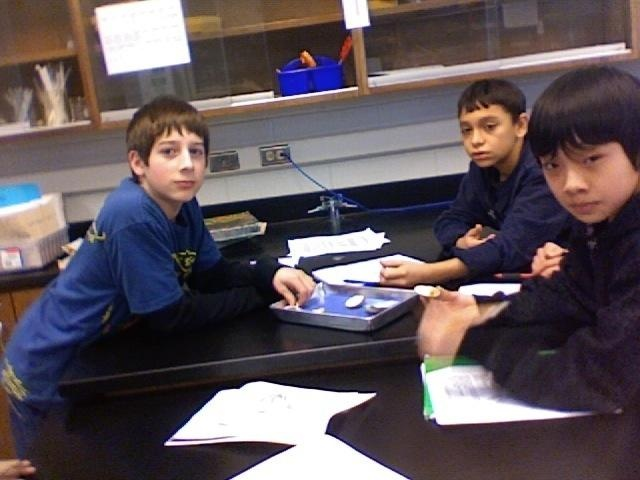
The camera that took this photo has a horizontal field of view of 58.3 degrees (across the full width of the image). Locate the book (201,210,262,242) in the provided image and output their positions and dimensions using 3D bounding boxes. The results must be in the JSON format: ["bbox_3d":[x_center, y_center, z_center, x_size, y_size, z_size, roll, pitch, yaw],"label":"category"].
[{"bbox_3d":[-0.359,-0.061,2.371,0.155,0.035,0.145,-11,22,-24],"label":"book"}]

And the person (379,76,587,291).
[{"bbox_3d":[0.535,-0.160,1.896,0.521,0.686,0.872,4,19,41],"label":"person"}]

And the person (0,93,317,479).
[{"bbox_3d":[-0.479,0.039,1.505,0.834,0.787,0.435,-13,15,-20],"label":"person"}]

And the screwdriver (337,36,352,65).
[{"bbox_3d":[0.101,-0.761,2.297,0.046,0.144,0.045,28,62,3],"label":"screwdriver"}]

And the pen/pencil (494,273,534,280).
[{"bbox_3d":[0.549,0.101,1.623,0.128,0.018,0.018,-1,8,-29],"label":"pen/pencil"}]

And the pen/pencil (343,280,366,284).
[{"bbox_3d":[0.099,0.117,1.654,0.054,0.004,0.018,6,18,3],"label":"pen/pencil"}]
